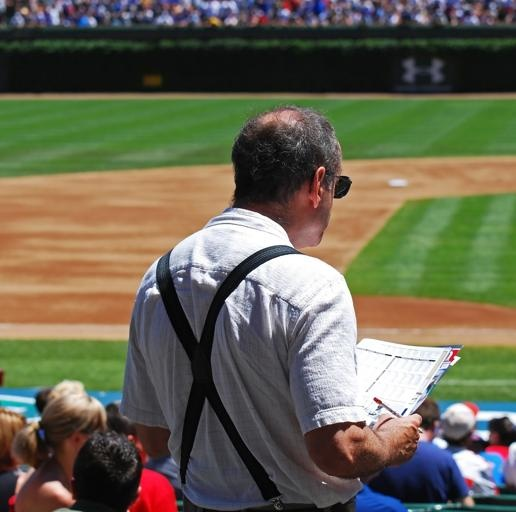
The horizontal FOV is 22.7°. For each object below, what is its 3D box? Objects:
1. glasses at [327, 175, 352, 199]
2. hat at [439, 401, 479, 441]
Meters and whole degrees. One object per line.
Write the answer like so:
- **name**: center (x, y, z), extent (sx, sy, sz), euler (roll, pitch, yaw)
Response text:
- **glasses**: center (0.648, -0.542, 10.179), extent (0.166, 0.168, 0.165), euler (0, -12, 4)
- **hat**: center (1.955, 1.583, 12.351), extent (0.378, 0.303, 0.387), euler (7, 14, 13)
